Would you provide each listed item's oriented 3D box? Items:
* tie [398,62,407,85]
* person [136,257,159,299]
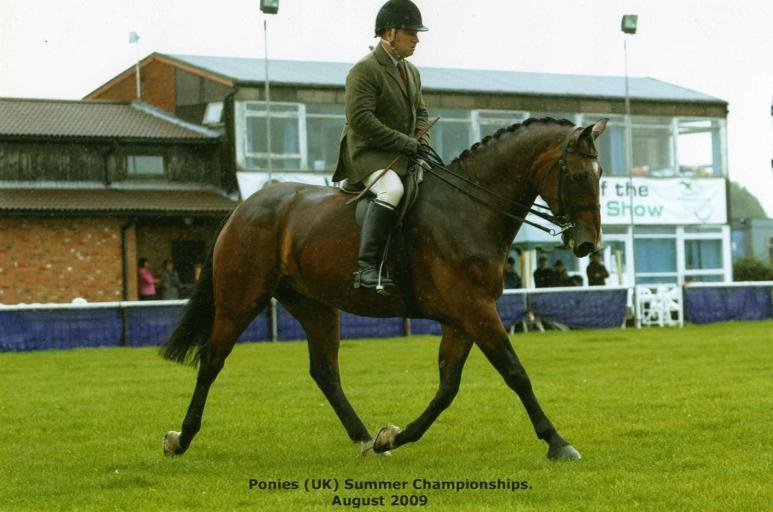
[{"bbox_3d":[0.305,-3.099,24.144,0.092,0.424,0.101,-9,-4,-25],"label":"tie"},{"bbox_3d":[-6.434,0.710,38.237,0.508,1.102,2.141,1,1,-10],"label":"person"}]
